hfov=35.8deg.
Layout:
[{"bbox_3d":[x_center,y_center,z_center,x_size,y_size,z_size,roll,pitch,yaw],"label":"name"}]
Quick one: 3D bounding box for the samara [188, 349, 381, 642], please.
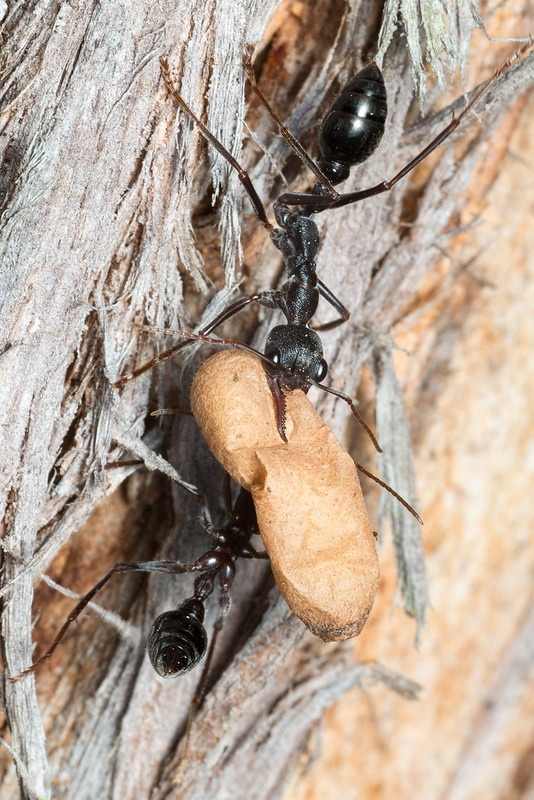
[{"bbox_3d":[0.053,0.151,1.425,0.217,0.478,0.309,-25,19,-4],"label":"samara"}]
